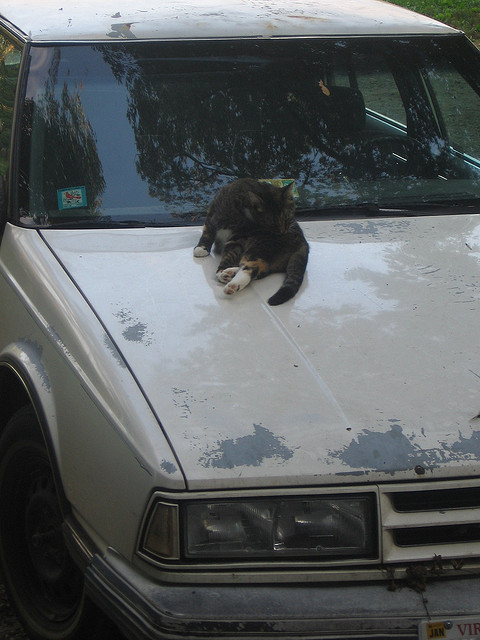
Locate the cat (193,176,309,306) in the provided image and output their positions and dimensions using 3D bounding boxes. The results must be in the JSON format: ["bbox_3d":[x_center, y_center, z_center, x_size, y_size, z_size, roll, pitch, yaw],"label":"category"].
[{"bbox_3d":[0.043,-0.330,2.634,0.438,0.317,0.609,-5,30,-13],"label":"cat"}]
